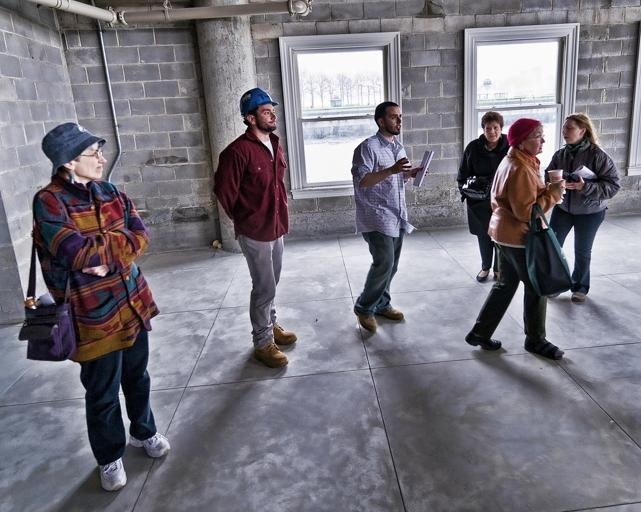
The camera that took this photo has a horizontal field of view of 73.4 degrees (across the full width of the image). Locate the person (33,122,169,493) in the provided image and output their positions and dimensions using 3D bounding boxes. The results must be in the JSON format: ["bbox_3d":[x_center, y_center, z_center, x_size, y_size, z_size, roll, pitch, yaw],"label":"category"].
[{"bbox_3d":[-1.180,0.282,2.376,0.533,1.947,0.429,-17,21,-35],"label":"person"}]

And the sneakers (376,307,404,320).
[{"bbox_3d":[0.700,0.568,4.252,0.290,0.117,0.114,6,20,31],"label":"sneakers"}]

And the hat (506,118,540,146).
[{"bbox_3d":[1.534,-0.913,3.188,0.209,0.191,0.144,-5,17,-1],"label":"hat"}]

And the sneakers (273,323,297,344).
[{"bbox_3d":[-0.284,0.706,3.881,0.272,0.120,0.108,3,11,11],"label":"sneakers"}]

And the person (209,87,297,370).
[{"bbox_3d":[-0.517,-0.204,3.475,0.460,2.151,0.564,0,18,15],"label":"person"}]

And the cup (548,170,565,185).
[{"bbox_3d":[1.716,-0.570,3.085,0.089,0.098,0.178,5,20,29],"label":"cup"}]

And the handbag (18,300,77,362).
[{"bbox_3d":[-1.354,0.357,2.109,0.244,0.305,0.177,1,18,17],"label":"handbag"}]

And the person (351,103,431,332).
[{"bbox_3d":[0.574,-0.312,3.835,0.645,1.998,0.681,-1,17,13],"label":"person"}]

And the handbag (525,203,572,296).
[{"bbox_3d":[1.689,-0.015,3.143,0.328,0.722,0.170,-5,17,-2],"label":"handbag"}]

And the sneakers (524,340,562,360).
[{"bbox_3d":[1.787,0.730,3.443,0.109,0.123,0.283,-27,24,-38],"label":"sneakers"}]

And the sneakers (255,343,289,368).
[{"bbox_3d":[-0.396,0.798,3.574,0.297,0.150,0.145,16,26,31],"label":"sneakers"}]

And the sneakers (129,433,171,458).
[{"bbox_3d":[-1.081,1.155,2.686,0.244,0.106,0.124,10,35,12],"label":"sneakers"}]

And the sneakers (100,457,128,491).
[{"bbox_3d":[-1.170,1.225,2.412,0.087,0.089,0.217,-4,5,-32],"label":"sneakers"}]

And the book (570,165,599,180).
[{"bbox_3d":[2.536,-0.774,4.075,0.176,0.136,0.400,10,22,38],"label":"book"}]

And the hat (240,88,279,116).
[{"bbox_3d":[-0.493,-1.197,3.359,0.261,0.203,0.266,-4,17,1],"label":"hat"}]

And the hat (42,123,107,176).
[{"bbox_3d":[-1.255,-0.547,2.164,0.270,0.235,0.204,-13,19,-25],"label":"hat"}]

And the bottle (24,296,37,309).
[{"bbox_3d":[-1.434,0.221,2.124,0.050,0.059,0.065,1,-7,-6],"label":"bottle"}]
